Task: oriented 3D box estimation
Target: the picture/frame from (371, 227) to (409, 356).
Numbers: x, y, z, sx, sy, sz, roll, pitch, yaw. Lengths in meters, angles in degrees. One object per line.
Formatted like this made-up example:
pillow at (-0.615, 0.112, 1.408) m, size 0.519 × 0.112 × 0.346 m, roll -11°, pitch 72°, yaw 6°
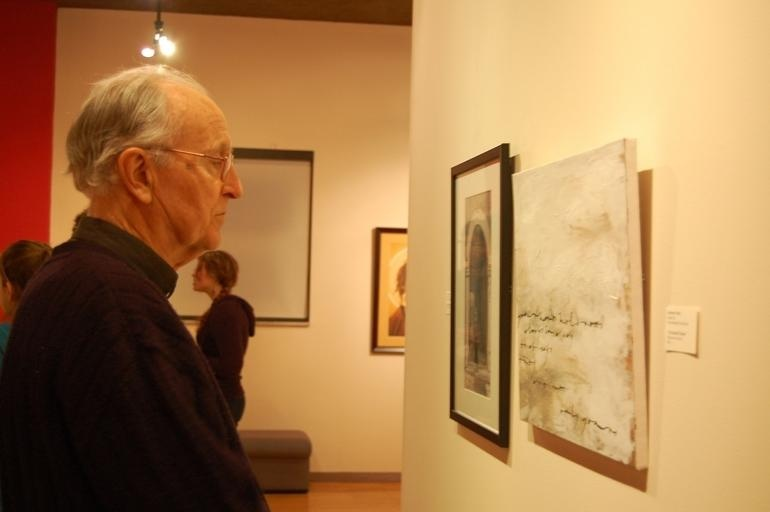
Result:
picture/frame at (0.029, 0.313, 5.622) m, size 0.306 × 1.011 × 0.189 m, roll 1°, pitch 0°, yaw -5°

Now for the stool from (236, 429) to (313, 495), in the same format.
stool at (-0.963, 1.787, 5.542) m, size 0.724 × 0.510 × 0.743 m, roll 0°, pitch 0°, yaw 6°
